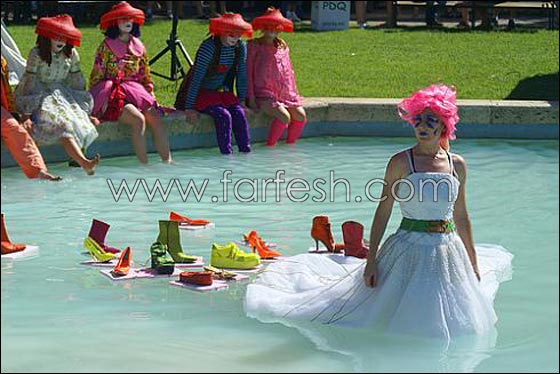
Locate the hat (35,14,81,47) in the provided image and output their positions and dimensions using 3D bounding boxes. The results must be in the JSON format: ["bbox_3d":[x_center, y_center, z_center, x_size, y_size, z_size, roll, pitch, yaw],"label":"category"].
[{"bbox_3d":[-2.727,-1.903,11.679,0.425,0.267,0.439,19,2,-4],"label":"hat"}]

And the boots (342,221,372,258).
[{"bbox_3d":[0.798,0.579,9.835,0.355,0.376,0.189,3,-24,-7],"label":"boots"}]

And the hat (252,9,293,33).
[{"bbox_3d":[-0.103,-2.369,13.475,0.652,0.353,0.687,4,5,0],"label":"hat"}]

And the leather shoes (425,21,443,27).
[{"bbox_3d":[3.419,-3.605,20.977,0.436,0.196,0.162,-4,13,-18],"label":"leather shoes"}]

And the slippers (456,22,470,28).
[{"bbox_3d":[4.033,-3.566,20.831,0.256,0.093,0.200,3,4,6],"label":"slippers"}]

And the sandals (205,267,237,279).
[{"bbox_3d":[-0.594,0.843,9.377,0.232,0.059,0.128,13,14,20],"label":"sandals"}]

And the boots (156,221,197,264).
[{"bbox_3d":[-1.054,0.567,9.697,0.420,0.441,0.187,2,-2,-2],"label":"boots"}]

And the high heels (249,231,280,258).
[{"bbox_3d":[-0.167,0.594,9.793,0.405,0.236,0.136,16,17,36],"label":"high heels"}]

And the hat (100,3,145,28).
[{"bbox_3d":[-2.002,-2.253,12.371,0.393,0.229,0.414,-6,7,26],"label":"hat"}]

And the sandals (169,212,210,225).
[{"bbox_3d":[-1.026,0.360,10.516,0.467,0.186,0.176,-3,-1,-10],"label":"sandals"}]

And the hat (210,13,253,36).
[{"bbox_3d":[-0.626,-2.161,12.669,0.366,0.219,0.377,16,20,38],"label":"hat"}]

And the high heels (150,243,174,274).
[{"bbox_3d":[-1.240,0.681,9.475,0.306,0.232,0.165,11,8,18],"label":"high heels"}]

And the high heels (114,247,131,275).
[{"bbox_3d":[-1.575,0.707,9.425,0.163,0.223,0.321,-3,19,-4],"label":"high heels"}]

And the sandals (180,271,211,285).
[{"bbox_3d":[-0.819,0.868,9.254,0.318,0.120,0.181,6,21,22],"label":"sandals"}]

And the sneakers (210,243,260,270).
[{"bbox_3d":[-0.471,0.678,9.552,0.564,0.302,0.214,0,11,-7],"label":"sneakers"}]
